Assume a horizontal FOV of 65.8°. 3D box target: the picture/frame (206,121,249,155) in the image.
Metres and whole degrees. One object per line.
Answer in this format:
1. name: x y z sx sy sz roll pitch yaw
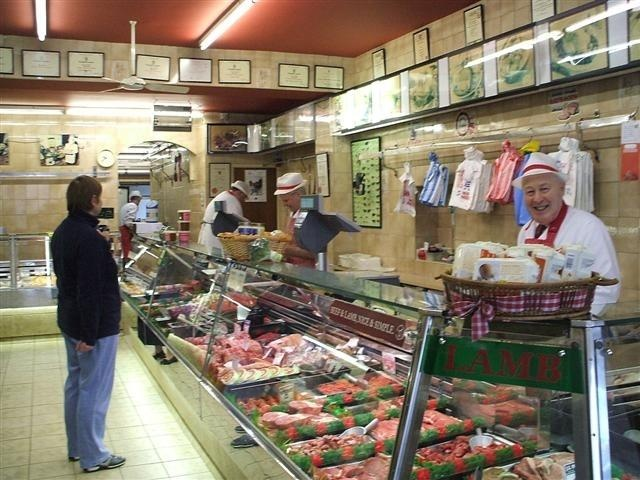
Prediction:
1. picture/frame: -1.920 -2.128 10.170 1.070 0.469 0.111 1 -6 -9

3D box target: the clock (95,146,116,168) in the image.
1. clock: -4.613 -1.766 10.619 0.392 0.456 0.108 -6 9 -16

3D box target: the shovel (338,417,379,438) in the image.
1. shovel: 0.177 0.844 2.204 0.147 0.019 0.078 -26 28 -8

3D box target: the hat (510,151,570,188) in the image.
1. hat: 1.232 -0.404 2.683 0.304 0.084 0.264 17 -21 -41

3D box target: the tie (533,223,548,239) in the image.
1. tie: 1.268 -0.054 2.829 0.073 0.057 0.257 6 12 16

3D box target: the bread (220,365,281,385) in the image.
1. bread: -0.421 0.778 2.835 0.360 0.039 0.172 -5 7 21

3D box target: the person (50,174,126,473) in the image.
1. person: -1.574 0.591 3.332 0.485 2.049 0.404 -9 10 -23

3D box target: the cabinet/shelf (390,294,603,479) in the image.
1. cabinet/shelf: 0.542 0.491 1.925 0.725 0.662 0.690 8 8 -2

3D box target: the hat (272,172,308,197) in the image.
1. hat: -0.236 -0.482 4.136 0.279 0.102 0.299 -6 17 16

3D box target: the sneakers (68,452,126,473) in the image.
1. sneakers: -1.545 1.548 3.492 0.421 0.114 0.125 -1 2 -21
